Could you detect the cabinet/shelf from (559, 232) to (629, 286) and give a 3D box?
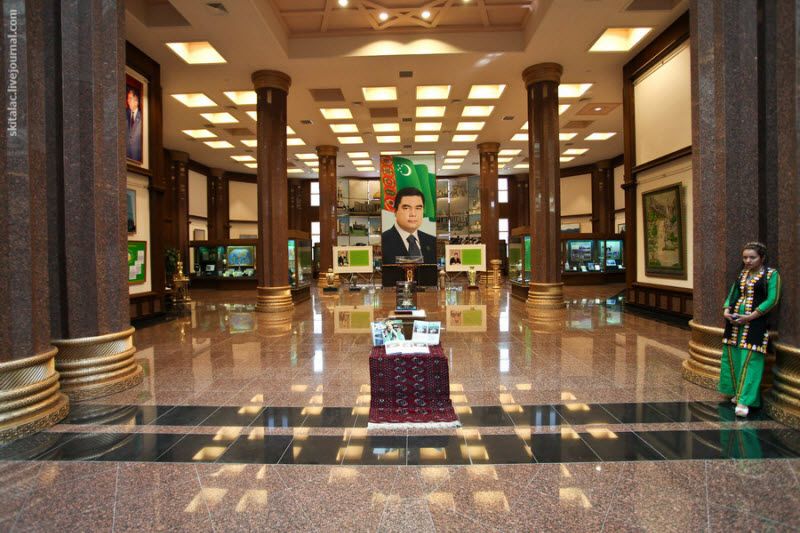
[{"bbox_3d":[8.232,-0.288,22.851,2.692,1.971,0.949,0,9,19],"label":"cabinet/shelf"}]

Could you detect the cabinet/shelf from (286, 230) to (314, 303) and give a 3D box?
[{"bbox_3d":[-3.407,0.050,17.507,0.848,1.871,2.092,-4,-1,-2],"label":"cabinet/shelf"}]

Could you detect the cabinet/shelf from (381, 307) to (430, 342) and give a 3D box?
[{"bbox_3d":[0.084,0.952,8.869,0.682,0.363,0.636,0,0,-2],"label":"cabinet/shelf"}]

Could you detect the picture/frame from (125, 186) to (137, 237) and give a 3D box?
[{"bbox_3d":[-6.205,-1.247,12.400,0.123,1.083,0.317,-3,1,3],"label":"picture/frame"}]

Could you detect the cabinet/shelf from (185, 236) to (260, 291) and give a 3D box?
[{"bbox_3d":[-6.816,0.001,22.718,3.654,2.238,1.928,1,-6,21],"label":"cabinet/shelf"}]

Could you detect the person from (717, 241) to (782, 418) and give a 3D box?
[{"bbox_3d":[4.677,0.823,7.204,0.748,2.237,0.458,-3,1,-11],"label":"person"}]

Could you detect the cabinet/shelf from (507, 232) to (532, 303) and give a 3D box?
[{"bbox_3d":[3.924,0.065,17.638,0.981,1.973,2.547,0,3,2],"label":"cabinet/shelf"}]
